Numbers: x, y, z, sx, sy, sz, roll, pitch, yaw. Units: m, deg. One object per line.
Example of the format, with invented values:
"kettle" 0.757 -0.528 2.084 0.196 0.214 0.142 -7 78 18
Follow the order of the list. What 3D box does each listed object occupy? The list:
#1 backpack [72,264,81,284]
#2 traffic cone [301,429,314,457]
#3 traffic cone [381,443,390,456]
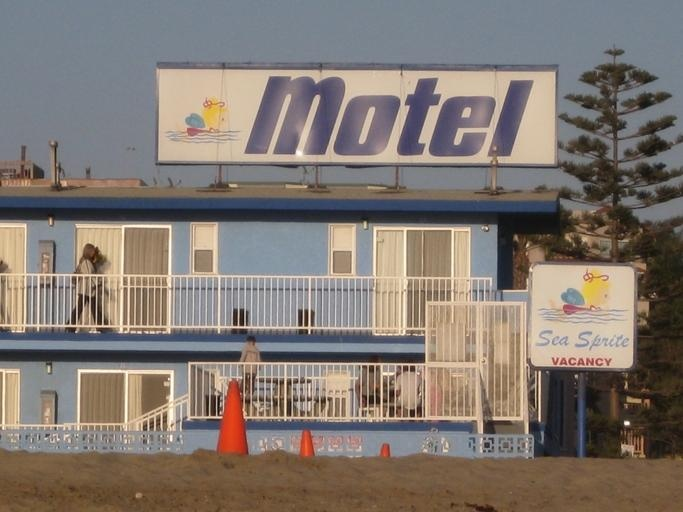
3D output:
"backpack" -8.323 0.588 70.917 0.148 0.550 0.363 6 0 -27
"traffic cone" -1.067 5.688 66.967 0.415 0.779 0.770 1 -7 -1
"traffic cone" 1.245 5.925 67.239 0.318 0.442 0.894 0 -7 1
